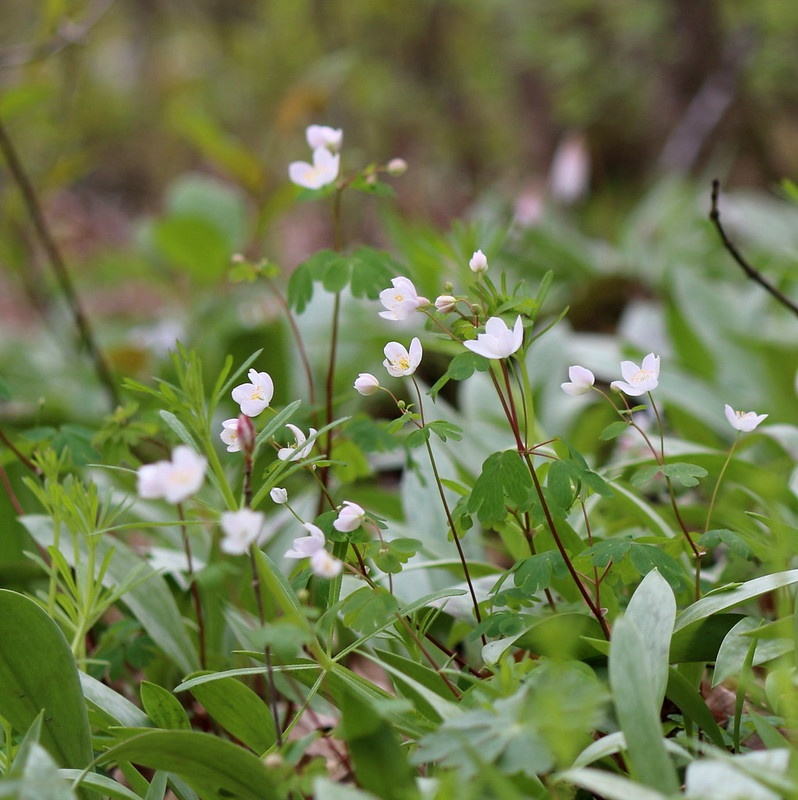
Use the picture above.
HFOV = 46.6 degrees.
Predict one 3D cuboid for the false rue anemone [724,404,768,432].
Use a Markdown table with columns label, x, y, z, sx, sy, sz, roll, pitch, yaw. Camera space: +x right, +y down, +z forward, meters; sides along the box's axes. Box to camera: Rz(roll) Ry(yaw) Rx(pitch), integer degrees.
| label | x | y | z | sx | sy | sz | roll | pitch | yaw |
| --- | --- | --- | --- | --- | --- | --- | --- | --- | --- |
| false rue anemone | 0.676 | 0.035 | 1.821 | 0.065 | 0.038 | 0.053 | 17 | -4 | -37 |

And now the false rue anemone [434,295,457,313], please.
| label | x | y | z | sx | sy | sz | roll | pitch | yaw |
| --- | --- | --- | --- | --- | --- | --- | --- | --- | --- |
| false rue anemone | 0.064 | -0.137 | 1.305 | 0.025 | 0.021 | 0.022 | -11 | 42 | 0 |

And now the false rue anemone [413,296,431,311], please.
| label | x | y | z | sx | sy | sz | roll | pitch | yaw |
| --- | --- | --- | --- | --- | --- | --- | --- | --- | --- |
| false rue anemone | 0.032 | -0.141 | 1.342 | 0.020 | 0.018 | 0.016 | 2 | 1 | -19 |

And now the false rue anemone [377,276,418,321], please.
| label | x | y | z | sx | sy | sz | roll | pitch | yaw |
| --- | --- | --- | --- | --- | --- | --- | --- | --- | --- |
| false rue anemone | -0.004 | -0.149 | 1.358 | 0.035 | 0.055 | 0.061 | 2 | 26 | -12 |

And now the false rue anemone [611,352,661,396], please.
| label | x | y | z | sx | sy | sz | roll | pitch | yaw |
| --- | --- | --- | --- | --- | --- | --- | --- | --- | --- |
| false rue anemone | 0.339 | -0.039 | 1.354 | 0.060 | 0.042 | 0.078 | -27 | 32 | 30 |

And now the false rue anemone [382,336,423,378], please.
| label | x | y | z | sx | sy | sz | roll | pitch | yaw |
| --- | --- | --- | --- | --- | --- | --- | --- | --- | --- |
| false rue anemone | 0.004 | -0.063 | 1.352 | 0.047 | 0.038 | 0.059 | -29 | 25 | 5 |

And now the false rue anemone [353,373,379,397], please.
| label | x | y | z | sx | sy | sz | roll | pitch | yaw |
| --- | --- | --- | --- | --- | --- | --- | --- | --- | --- |
| false rue anemone | -0.055 | -0.021 | 1.370 | 0.040 | 0.034 | 0.032 | -3 | -7 | 21 |
